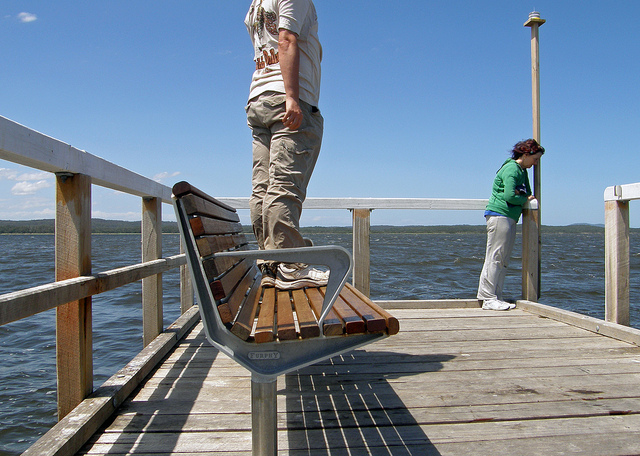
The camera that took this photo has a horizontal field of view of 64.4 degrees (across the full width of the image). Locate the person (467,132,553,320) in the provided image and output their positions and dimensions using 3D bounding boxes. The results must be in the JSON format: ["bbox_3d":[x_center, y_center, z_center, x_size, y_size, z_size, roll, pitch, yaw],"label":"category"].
[{"bbox_3d":[1.856,0.000,5.064,0.535,1.746,1.385,7,14,23],"label":"person"}]

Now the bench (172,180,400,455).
[{"bbox_3d":[-0.260,0.425,2.672,0.943,1.375,1.138,-6,15,-29],"label":"bench"}]
